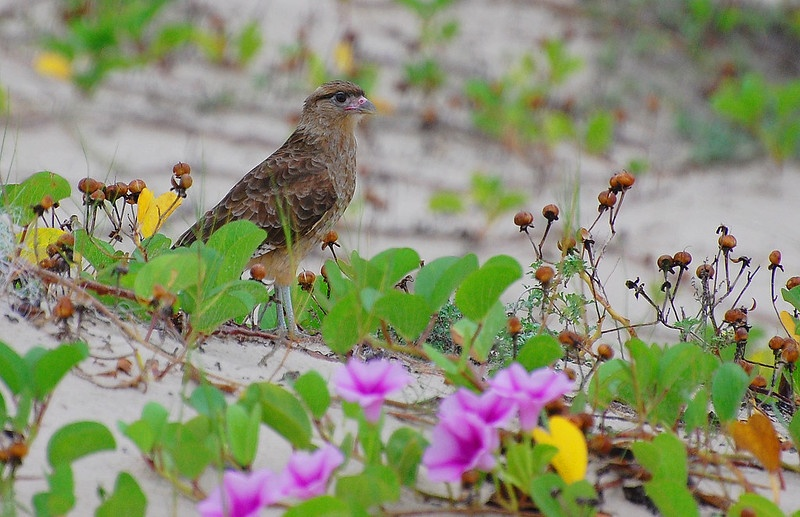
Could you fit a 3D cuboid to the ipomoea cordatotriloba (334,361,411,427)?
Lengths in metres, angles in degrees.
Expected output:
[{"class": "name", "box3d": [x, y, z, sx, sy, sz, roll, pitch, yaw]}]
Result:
[{"class": "ipomoea cordatotriloba", "box3d": [-0.121, 0.549, 4.448, 0.302, 0.257, 0.204, 16, -13, 1]}]

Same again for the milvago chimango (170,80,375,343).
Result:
[{"class": "milvago chimango", "box3d": [-0.417, -0.591, 7.048, 1.824, 2.167, 0.951, -2, 4, -24]}]

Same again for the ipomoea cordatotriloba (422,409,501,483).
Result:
[{"class": "ipomoea cordatotriloba", "box3d": [0.263, 0.789, 4.320, 0.281, 0.316, 0.145, 2, 0, 4]}]

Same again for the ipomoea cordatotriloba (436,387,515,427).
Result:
[{"class": "ipomoea cordatotriloba", "box3d": [0.319, 0.612, 4.389, 0.279, 0.168, 0.202, -2, 7, -30]}]

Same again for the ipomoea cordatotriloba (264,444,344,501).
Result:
[{"class": "ipomoea cordatotriloba", "box3d": [-0.394, 0.922, 4.547, 0.230, 0.220, 0.302, 9, 14, 33]}]
